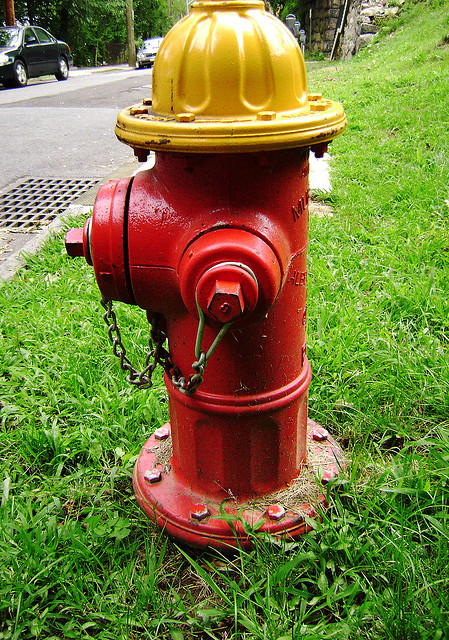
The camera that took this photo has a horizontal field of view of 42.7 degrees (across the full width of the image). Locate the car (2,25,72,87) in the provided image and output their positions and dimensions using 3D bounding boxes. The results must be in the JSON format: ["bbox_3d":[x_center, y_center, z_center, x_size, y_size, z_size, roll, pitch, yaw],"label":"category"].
[{"bbox_3d":[-5.210,-6.871,14.950,1.358,1.180,3.142,5,21,17],"label":"car"}]

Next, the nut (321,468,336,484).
[{"bbox_3d":[0.299,0.454,1.664,0.030,0.045,0.033,3,15,6],"label":"nut"}]

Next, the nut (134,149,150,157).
[{"bbox_3d":[-0.195,-0.395,1.353,0.027,0.022,0.029,9,10,22],"label":"nut"}]

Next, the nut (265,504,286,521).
[{"bbox_3d":[0.136,0.516,1.537,0.032,0.017,0.033,3,19,7],"label":"nut"}]

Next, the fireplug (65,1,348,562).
[{"bbox_3d":[-0.017,-0.044,1.434,0.690,1.355,0.581,5,22,9],"label":"fireplug"}]

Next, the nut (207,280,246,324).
[{"bbox_3d":[0.004,-0.034,1.137,0.077,0.084,0.039,0,22,-2],"label":"nut"}]
